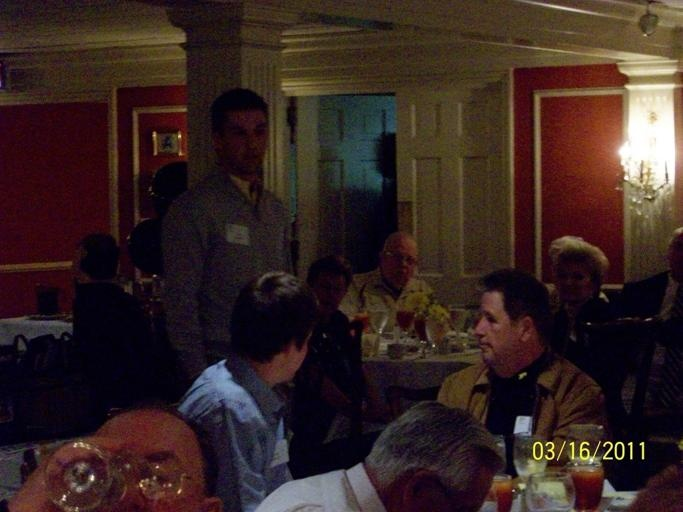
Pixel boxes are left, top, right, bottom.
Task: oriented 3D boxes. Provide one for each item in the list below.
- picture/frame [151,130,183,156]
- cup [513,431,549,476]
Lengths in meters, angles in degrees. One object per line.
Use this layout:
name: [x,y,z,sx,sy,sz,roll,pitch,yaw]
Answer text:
picture/frame: [-1.931,-1.260,7.173,0.312,0.259,0.022,-1,2,-5]
cup: [0.581,0.608,1.961,0.096,0.131,0.089,-1,3,0]
